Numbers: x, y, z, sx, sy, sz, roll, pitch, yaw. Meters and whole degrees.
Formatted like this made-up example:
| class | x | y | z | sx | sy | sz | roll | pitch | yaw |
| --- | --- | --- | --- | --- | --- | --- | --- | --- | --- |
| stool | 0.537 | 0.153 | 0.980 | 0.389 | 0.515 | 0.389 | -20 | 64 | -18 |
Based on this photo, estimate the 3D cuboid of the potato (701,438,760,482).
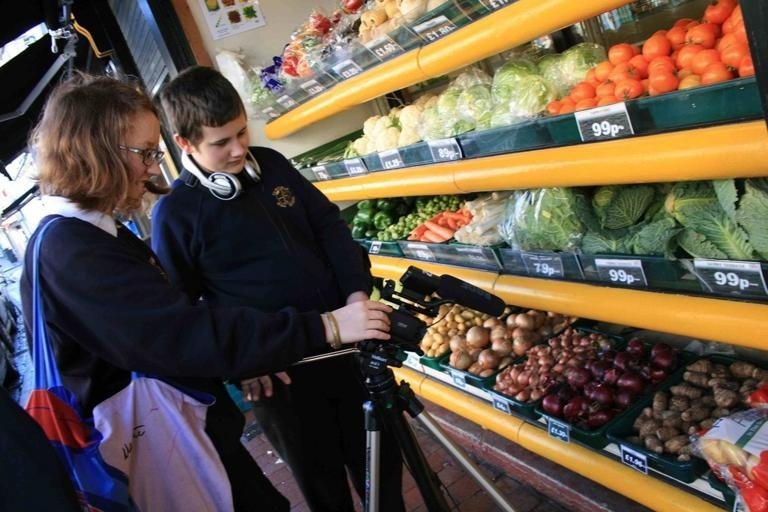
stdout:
| class | x | y | z | sx | sy | sz | roll | pitch | yaw |
| --- | --- | --- | --- | --- | --- | --- | --- | --- | --- |
| potato | 1.248 | 0.720 | 1.636 | 0.047 | 0.130 | 0.187 | -24 | 11 | -21 |

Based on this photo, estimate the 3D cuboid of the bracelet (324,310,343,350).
| class | x | y | z | sx | sy | sz | roll | pitch | yaw |
| --- | --- | --- | --- | --- | --- | --- | --- | --- | --- |
| bracelet | -0.174 | 0.250 | 1.577 | 0.030 | 0.096 | 0.111 | -19 | 7 | -9 |
